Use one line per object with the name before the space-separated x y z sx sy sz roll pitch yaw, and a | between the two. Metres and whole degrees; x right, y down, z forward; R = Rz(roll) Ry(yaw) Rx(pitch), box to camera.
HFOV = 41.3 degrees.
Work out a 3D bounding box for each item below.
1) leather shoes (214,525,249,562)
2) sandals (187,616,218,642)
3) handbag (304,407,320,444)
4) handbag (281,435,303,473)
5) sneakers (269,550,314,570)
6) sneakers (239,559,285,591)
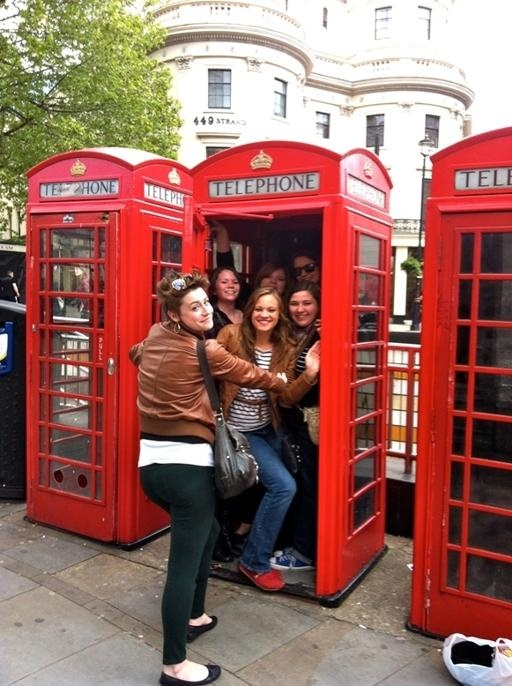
leather shoes | -0.160 1.329 4.558 0.121 0.143 0.382 6 7 19
sandals | -0.269 1.454 3.462 0.059 0.068 0.173 4 11 28
handbag | 0.342 0.490 4.038 0.063 0.205 0.140 0 5 -26
handbag | 0.221 0.686 4.126 0.064 0.184 0.138 -11 -30 0
sneakers | 0.224 1.408 4.379 0.282 0.113 0.100 13 -18 5
sneakers | 0.042 1.388 4.040 0.205 0.070 0.130 18 5 23
